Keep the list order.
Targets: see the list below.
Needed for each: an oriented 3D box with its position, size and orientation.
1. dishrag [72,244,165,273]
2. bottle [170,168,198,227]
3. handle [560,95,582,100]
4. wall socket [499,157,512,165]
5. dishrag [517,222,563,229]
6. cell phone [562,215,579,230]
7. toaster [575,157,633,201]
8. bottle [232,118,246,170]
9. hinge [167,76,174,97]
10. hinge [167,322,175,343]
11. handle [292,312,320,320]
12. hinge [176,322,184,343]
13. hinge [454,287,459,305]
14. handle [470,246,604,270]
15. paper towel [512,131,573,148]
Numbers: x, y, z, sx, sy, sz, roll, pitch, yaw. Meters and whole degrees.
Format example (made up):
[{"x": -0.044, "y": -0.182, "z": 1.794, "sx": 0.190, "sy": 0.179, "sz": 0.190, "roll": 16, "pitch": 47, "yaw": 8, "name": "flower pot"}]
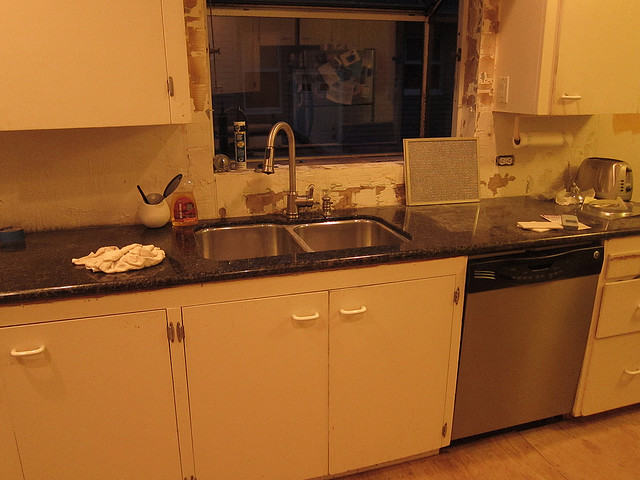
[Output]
[{"x": -0.808, "y": 0.073, "z": 2.092, "sx": 0.348, "sy": 0.058, "sz": 0.169, "roll": -8, "pitch": 23, "yaw": -22, "name": "dishrag"}, {"x": -0.673, "y": -0.209, "z": 2.549, "sx": 0.128, "sy": 0.257, "sz": 0.118, "roll": 0, "pitch": 20, "yaw": 0, "name": "bottle"}, {"x": 1.241, "y": -0.698, "z": 2.565, "sx": 0.127, "sy": 0.022, "sz": 0.042, "roll": -8, "pitch": 23, "yaw": -23, "name": "handle"}, {"x": 1.053, "y": -0.446, "z": 2.954, "sx": 0.057, "sy": 0.039, "sz": 0.012, "roll": -4, "pitch": 10, "yaw": -15, "name": "wall socket"}, {"x": 1.038, "y": -0.064, "z": 2.452, "sx": 0.193, "sy": 0.022, "sz": 0.071, "roll": 4, "pitch": 21, "yaw": 8, "name": "dishrag"}, {"x": 1.181, "y": -0.086, "z": 2.463, "sx": 0.076, "sy": 0.041, "sz": 0.110, "roll": 10, "pitch": 23, "yaw": 24, "name": "cell phone"}, {"x": 1.557, "y": -0.344, "z": 2.871, "sx": 0.142, "sy": 0.207, "sz": 0.280, "roll": -8, "pitch": 22, "yaw": -23, "name": "toaster"}, {"x": -0.409, "y": -0.480, "z": 2.660, "sx": 0.061, "sy": 0.232, "sz": 0.082, "roll": -3, "pitch": 20, "yaw": -9, "name": "bottle"}, {"x": -0.621, "y": -0.636, "z": 2.169, "sx": 0.023, "sy": 0.079, "sz": 0.005, "roll": -6, "pitch": 21, "yaw": -18, "name": "hinge"}, {"x": -0.584, "y": 0.359, "z": 2.042, "sx": 0.025, "sy": 0.082, "sz": 0.012, "roll": 2, "pitch": 20, "yaw": 5, "name": "hinge"}, {"x": -0.057, "y": 0.311, "z": 2.140, "sx": 0.114, "sy": 0.023, "sz": 0.024, "roll": -3, "pitch": 21, "yaw": -11, "name": "handle"}, {"x": -0.549, "y": 0.359, "z": 2.048, "sx": 0.030, "sy": 0.079, "sz": 0.012, "roll": -5, "pitch": 20, "yaw": -14, "name": "hinge"}, {"x": 0.602, "y": 0.245, "z": 2.303, "sx": 0.021, "sy": 0.071, "sz": 0.011, "roll": -6, "pitch": 21, "yaw": -18, "name": "hinge"}, {"x": 0.982, "y": 0.081, "z": 2.335, "sx": 0.676, "sy": 0.049, "sz": 0.029, "roll": -4, "pitch": 20, "yaw": -13, "name": "handle"}, {"x": 1.278, "y": -0.566, "z": 2.954, "sx": 0.394, "sy": 0.095, "sz": 0.112, "roll": -6, "pitch": 21, "yaw": -17, "name": "paper towel"}]
